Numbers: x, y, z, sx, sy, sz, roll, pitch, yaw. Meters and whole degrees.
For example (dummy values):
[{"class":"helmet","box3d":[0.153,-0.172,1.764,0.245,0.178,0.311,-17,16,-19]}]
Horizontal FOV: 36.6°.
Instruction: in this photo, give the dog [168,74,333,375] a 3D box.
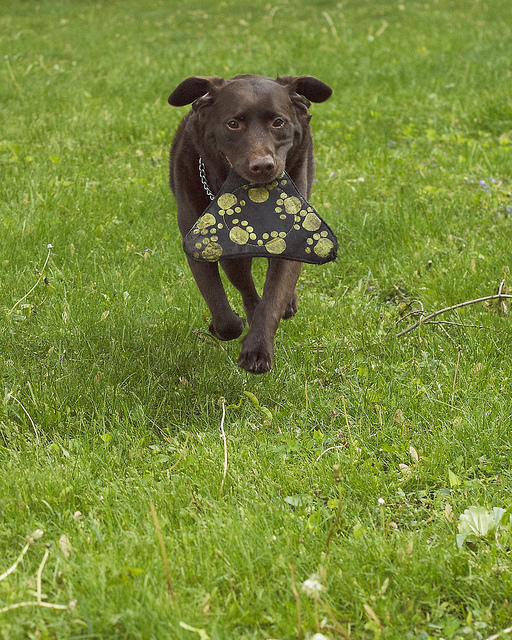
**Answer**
[{"class":"dog","box3d":[-0.051,-0.554,3.931,0.669,1.189,2.052,-1,12,-1]}]

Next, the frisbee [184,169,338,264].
[{"class":"frisbee","box3d":[0.027,-0.474,2.944,0.605,0.623,0.096,3,53,0]}]
